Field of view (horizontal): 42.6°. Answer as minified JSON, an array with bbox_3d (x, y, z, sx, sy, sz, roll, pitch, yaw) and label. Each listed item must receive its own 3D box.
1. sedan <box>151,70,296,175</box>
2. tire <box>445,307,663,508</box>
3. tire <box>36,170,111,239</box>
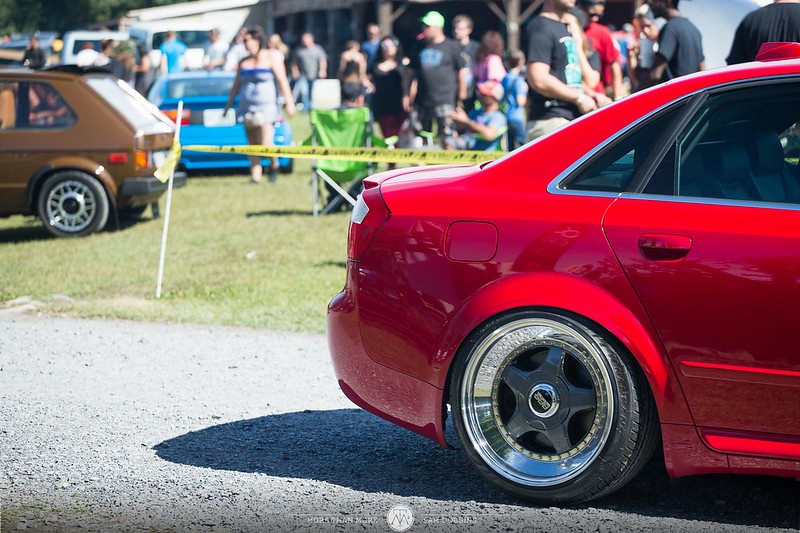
[{"bbox_3d":[-2.965,-2.272,15.965,1.362,1.016,2.354,-2,16,-2],"label":"sedan"},{"bbox_3d":[0.834,0.727,5.507,1.020,1.082,0.414,2,3,26],"label":"tire"},{"bbox_3d":[-3.587,-0.711,11.285,0.682,0.718,0.265,1,7,-3],"label":"tire"}]
